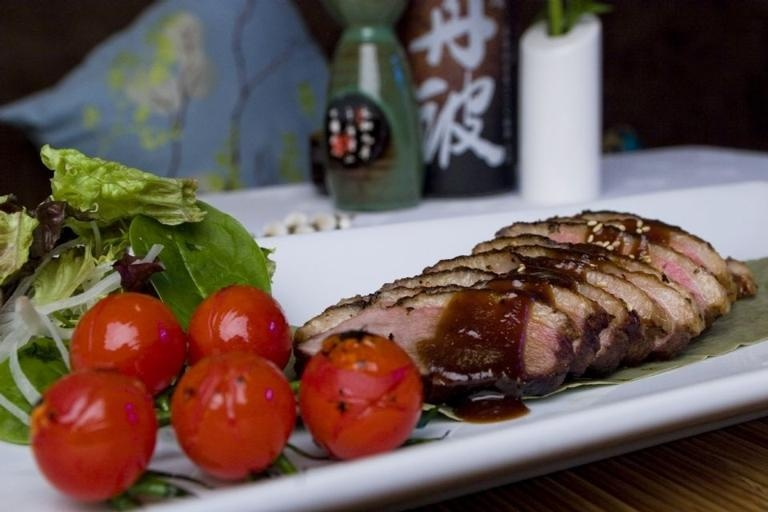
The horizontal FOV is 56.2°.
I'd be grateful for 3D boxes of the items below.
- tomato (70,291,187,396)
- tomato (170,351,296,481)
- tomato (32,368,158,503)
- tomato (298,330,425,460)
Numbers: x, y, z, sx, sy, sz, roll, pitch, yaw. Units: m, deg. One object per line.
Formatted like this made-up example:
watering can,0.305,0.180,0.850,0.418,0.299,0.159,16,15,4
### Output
tomato,-0.399,0.142,1.147,0.183,0.154,0.147,7,-8,-32
tomato,-0.202,0.219,0.997,0.178,0.171,0.162,-12,10,-25
tomato,-0.369,0.250,0.962,0.184,0.142,0.137,-6,30,-24
tomato,-0.029,0.188,1.048,0.174,0.183,0.162,4,15,-40
